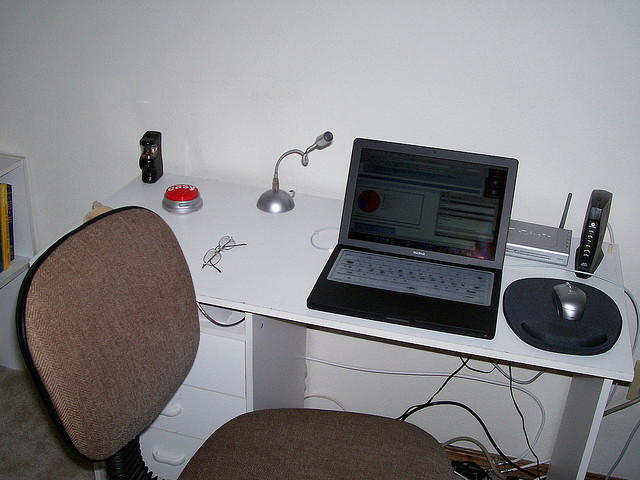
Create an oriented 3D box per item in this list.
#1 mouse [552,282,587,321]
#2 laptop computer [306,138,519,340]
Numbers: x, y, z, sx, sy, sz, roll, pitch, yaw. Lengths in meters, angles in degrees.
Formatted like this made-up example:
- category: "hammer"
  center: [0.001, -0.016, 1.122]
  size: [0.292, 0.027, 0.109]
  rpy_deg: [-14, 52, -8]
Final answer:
- category: "mouse"
  center: [0.672, 0.153, 1.395]
  size: [0.076, 0.058, 0.149]
  rpy_deg: [1, 23, 14]
- category: "laptop computer"
  center: [0.295, -0.005, 1.489]
  size: [0.573, 0.391, 0.566]
  rpy_deg: [10, 49, 9]
